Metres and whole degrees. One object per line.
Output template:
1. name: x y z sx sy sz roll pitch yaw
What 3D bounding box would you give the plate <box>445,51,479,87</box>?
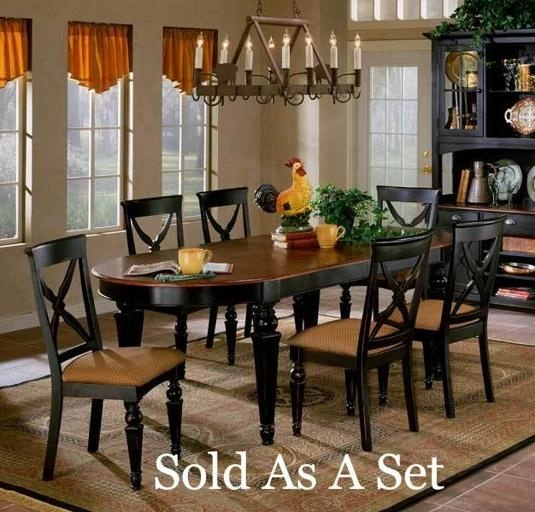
1. plate: 1.855 -1.762 4.986 0.327 0.311 0.045 17 16 26

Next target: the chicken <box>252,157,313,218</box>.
1. chicken: 0.099 -0.359 3.025 0.357 0.306 0.249 -6 15 28

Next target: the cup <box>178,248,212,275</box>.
1. cup: -0.320 0.023 2.281 0.106 0.106 0.160 1 1 34

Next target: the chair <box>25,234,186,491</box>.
1. chair: -0.591 0.367 1.986 0.490 0.887 0.417 0 2 7

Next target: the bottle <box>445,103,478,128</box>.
1. bottle: 1.872 -1.330 5.038 0.301 0.276 0.179 8 14 39

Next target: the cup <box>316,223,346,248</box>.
1. cup: 0.363 -0.114 3.045 0.200 0.136 0.136 0 1 -17

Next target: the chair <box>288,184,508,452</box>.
1. chair: 0.720 0.354 2.878 0.597 1.017 1.387 6 11 39
